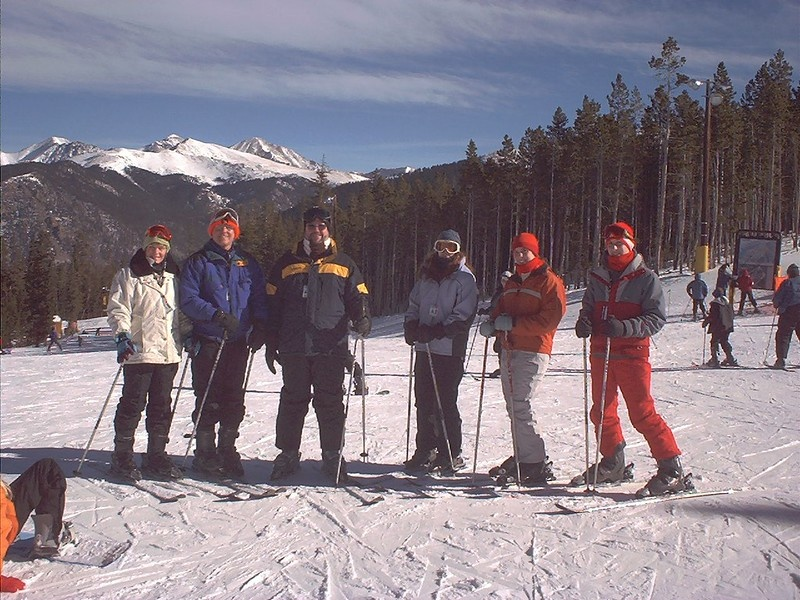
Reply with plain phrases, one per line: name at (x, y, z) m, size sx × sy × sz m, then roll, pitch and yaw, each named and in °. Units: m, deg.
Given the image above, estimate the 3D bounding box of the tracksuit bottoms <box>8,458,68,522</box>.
tracksuit bottoms at (-3.628, 1.888, 7.386) m, size 0.490 × 0.451 × 0.642 m, roll 8°, pitch -36°, yaw -7°

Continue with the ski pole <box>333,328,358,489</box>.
ski pole at (-0.736, 1.474, 9.781) m, size 0.129 × 1.980 × 0.228 m, roll 9°, pitch -17°, yaw 5°

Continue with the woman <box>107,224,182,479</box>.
woman at (-3.164, 0.609, 9.201) m, size 0.971 × 3.092 × 0.853 m, roll -5°, pitch 9°, yaw -39°

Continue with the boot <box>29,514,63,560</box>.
boot at (-3.474, 2.390, 7.405) m, size 0.448 × 0.464 × 0.222 m, roll -3°, pitch -6°, yaw 32°

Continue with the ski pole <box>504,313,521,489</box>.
ski pole at (1.390, 1.326, 9.007) m, size 0.216 × 1.845 × 0.503 m, roll 0°, pitch 7°, yaw -2°

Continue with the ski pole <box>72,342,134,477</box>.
ski pole at (-5.135, 1.844, 12.621) m, size 0.232 × 1.733 × 0.251 m, roll 27°, pitch 2°, yaw 0°

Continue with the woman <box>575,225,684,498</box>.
woman at (2.741, 0.681, 8.761) m, size 1.307 × 3.194 × 0.867 m, roll 4°, pitch 8°, yaw 27°
